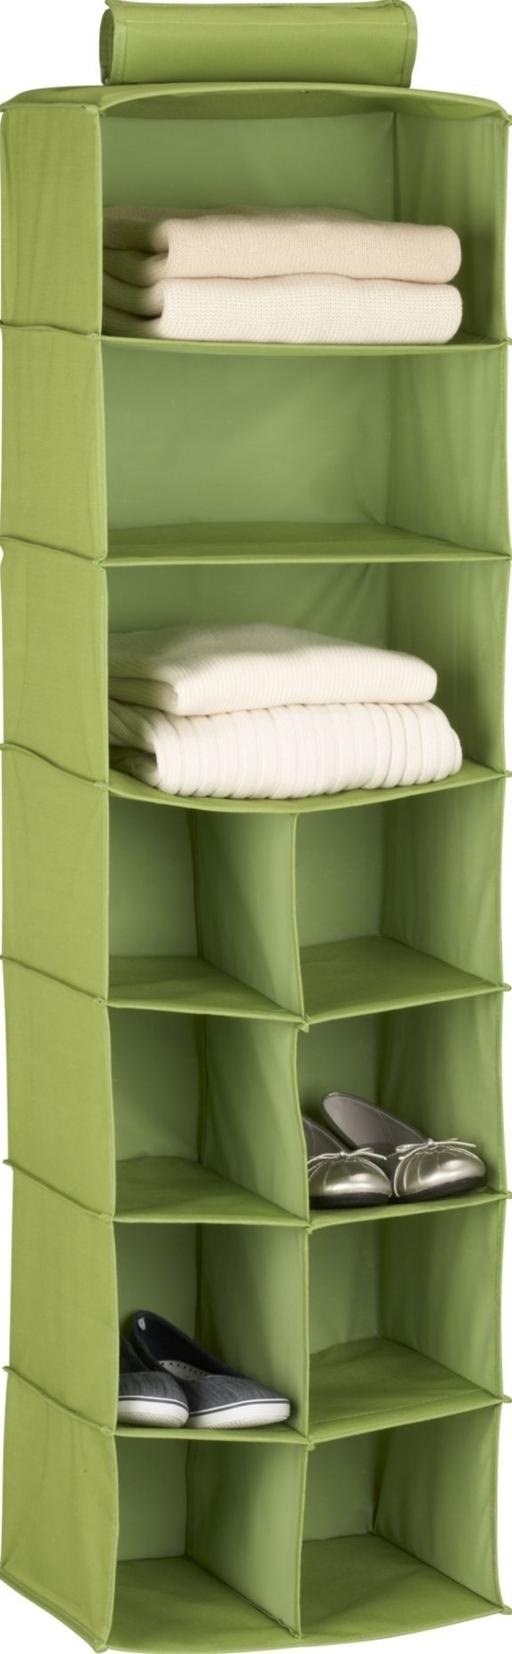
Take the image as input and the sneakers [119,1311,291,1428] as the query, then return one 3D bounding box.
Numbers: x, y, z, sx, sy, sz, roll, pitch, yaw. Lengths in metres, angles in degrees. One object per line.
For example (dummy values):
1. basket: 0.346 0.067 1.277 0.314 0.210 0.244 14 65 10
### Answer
1. sneakers: -0.103 0.905 1.881 0.207 0.135 0.496 8 -16 -18
